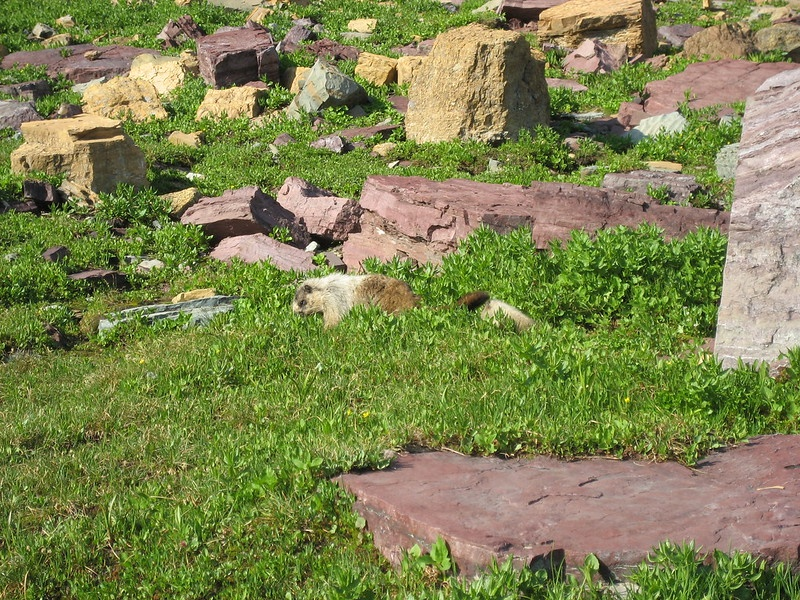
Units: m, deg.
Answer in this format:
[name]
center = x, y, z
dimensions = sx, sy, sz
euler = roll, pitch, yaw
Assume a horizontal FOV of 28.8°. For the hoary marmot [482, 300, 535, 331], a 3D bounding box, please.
[hoary marmot]
center = 2.031, 0.283, 29.836
dimensions = 0.574, 0.318, 0.764
euler = 4, 23, -45
